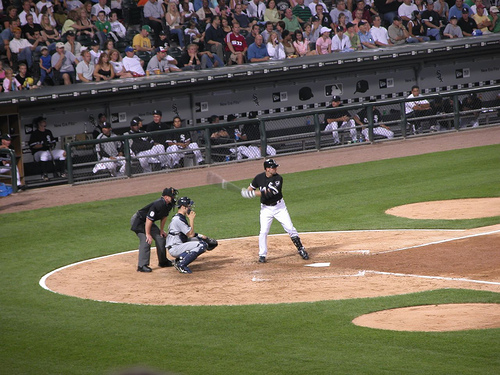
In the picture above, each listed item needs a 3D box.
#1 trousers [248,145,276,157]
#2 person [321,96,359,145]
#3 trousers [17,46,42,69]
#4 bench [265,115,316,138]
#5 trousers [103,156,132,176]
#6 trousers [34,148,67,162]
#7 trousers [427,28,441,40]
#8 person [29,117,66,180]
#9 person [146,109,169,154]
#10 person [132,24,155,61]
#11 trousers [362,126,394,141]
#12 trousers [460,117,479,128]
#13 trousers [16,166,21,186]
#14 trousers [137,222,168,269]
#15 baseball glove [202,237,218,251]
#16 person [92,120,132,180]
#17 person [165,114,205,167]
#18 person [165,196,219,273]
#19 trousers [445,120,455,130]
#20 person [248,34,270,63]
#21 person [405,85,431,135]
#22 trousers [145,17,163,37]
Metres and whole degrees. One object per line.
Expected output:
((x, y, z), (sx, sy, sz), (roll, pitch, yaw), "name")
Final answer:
((0.370, -1.180, 33.570), (1.081, 0.314, 0.416), (5, -6, -30), "trousers")
((2.998, -2.310, 34.334), (0.978, 1.652, 1.359), (-9, 7, -33), "person")
((-7.130, -4.139, 31.978), (0.546, 0.247, 0.721), (-28, 17, -28), "trousers")
((1.270, -1.952, 33.529), (1.869, 0.647, 1.151), (-6, 21, -7), "bench")
((-4.295, -0.593, 31.692), (0.707, 0.423, 0.298), (-8, 4, -12), "trousers")
((-6.338, -0.996, 31.442), (0.957, 0.318, 0.264), (-9, 4, -26), "trousers")
((7.027, -5.835, 38.024), (0.665, 0.443, 0.246), (-8, 4, -19), "trousers")
((-6.363, -1.244, 31.332), (1.237, 1.836, 1.106), (4, 11, 26), "person")
((-2.924, -1.677, 32.362), (0.900, 1.620, 0.950), (-6, 6, -18), "person")
((-3.650, -4.851, 34.103), (0.745, 0.810, 0.573), (-9, 4, -17), "person")
((4.488, -1.859, 34.658), (0.619, 0.188, 0.647), (-20, -35, 31), "trousers")
((7.768, -2.290, 35.327), (0.712, 0.343, 0.118), (-8, 4, -19), "trousers")
((-7.184, -0.336, 30.743), (0.122, 0.481, 0.539), (-9, 4, -13), "trousers")
((-2.328, 1.383, 23.471), (0.618, 1.041, 0.689), (3, 18, -36), "trousers")
((-0.954, 1.335, 23.447), (0.315, 0.118, 0.241), (9, -18, -13), "baseball glove")
((-4.399, -0.867, 31.509), (1.273, 1.254, 0.720), (-8, 4, -10), "person")
((-2.246, -1.461, 32.512), (1.017, 1.645, 1.326), (-16, 9, -25), "person")
((-1.361, 1.105, 23.419), (1.168, 1.710, 1.096), (2, 4, 34), "person")
((7.029, -2.186, 35.203), (0.265, 0.345, 0.095), (2, 8, -2), "trousers")
((0.249, -4.790, 34.747), (1.029, 1.047, 0.690), (-9, 13, -28), "person")
((5.865, -2.690, 34.889), (0.850, 1.633, 0.981), (-13, 14, -21), "person")
((-3.336, -5.579, 34.776), (0.500, 0.518, 1.129), (-8, 4, -12), "trousers")
